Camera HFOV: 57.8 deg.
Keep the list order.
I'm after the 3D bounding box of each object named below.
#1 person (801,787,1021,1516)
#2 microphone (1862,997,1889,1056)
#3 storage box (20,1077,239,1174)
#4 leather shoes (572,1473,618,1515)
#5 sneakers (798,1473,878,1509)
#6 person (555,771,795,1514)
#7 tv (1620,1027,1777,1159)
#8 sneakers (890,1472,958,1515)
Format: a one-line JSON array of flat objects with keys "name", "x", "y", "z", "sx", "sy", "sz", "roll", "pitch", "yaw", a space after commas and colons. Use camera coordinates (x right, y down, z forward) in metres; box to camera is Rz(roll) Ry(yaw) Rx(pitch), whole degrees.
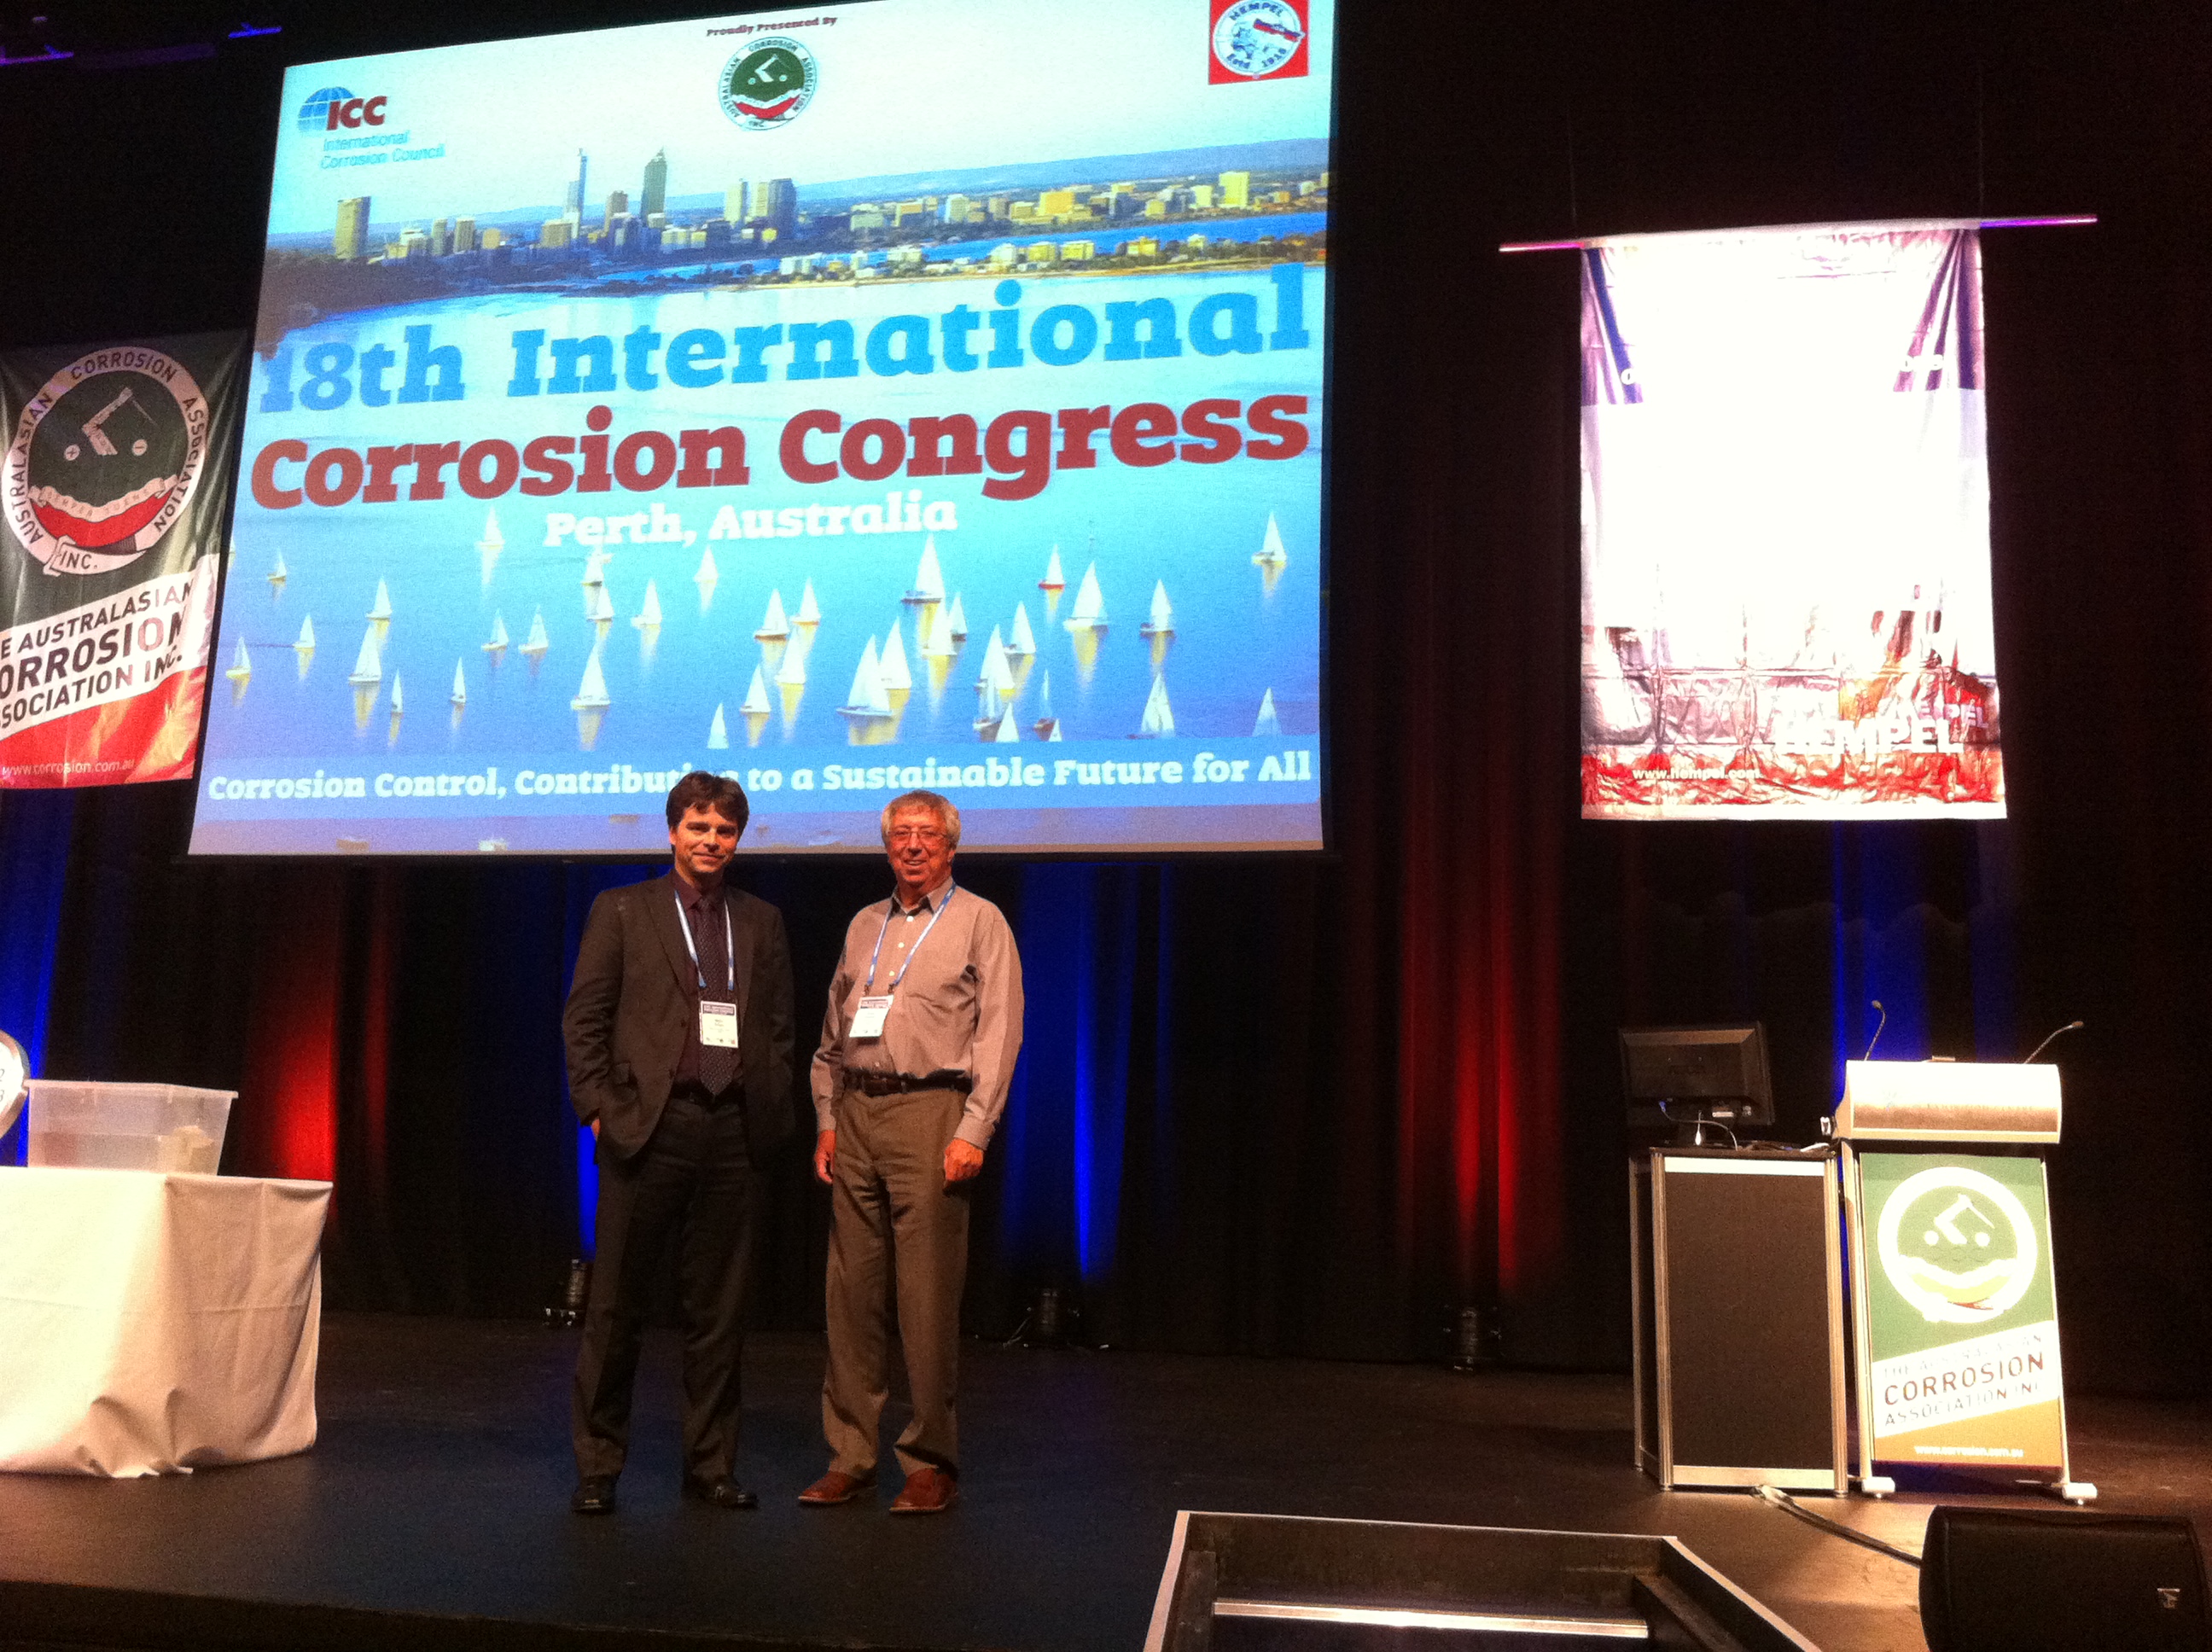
[{"name": "person", "x": -0.493, "y": 0.772, "z": 4.903, "sx": 0.536, "sy": 1.711, "sz": 0.287, "roll": 1, "pitch": -6, "yaw": 7}, {"name": "microphone", "x": 2.636, "y": 0.693, "z": 6.843, "sx": 0.042, "sy": 0.154, "sz": 0.142, "roll": 8, "pitch": -7, "yaw": -8}, {"name": "storage box", "x": -2.498, "y": 0.770, "z": 5.133, "sx": 0.396, "sy": 0.212, "sz": 0.282, "roll": 3, "pitch": -15, "yaw": 1}, {"name": "leather shoes", "x": -1.200, "y": 1.561, "z": 4.718, "sx": 0.104, "sy": 0.086, "sz": 0.195, "roll": 3, "pitch": -6, "yaw": -14}, {"name": "sneakers", "x": -0.645, "y": 1.581, "z": 4.769, "sx": 0.063, "sy": 0.057, "sz": 0.181, "roll": -9, "pitch": -22, "yaw": 24}, {"name": "person", "x": -1.041, "y": 0.742, "z": 4.855, "sx": 0.544, "sy": 1.748, "sz": 0.240, "roll": 3, "pitch": -6, "yaw": -17}, {"name": "tv", "x": 1.572, "y": 0.697, "z": 5.402, "sx": 0.371, "sy": 0.353, "sz": 0.185, "roll": -3, "pitch": 14, "yaw": 21}, {"name": "sneakers", "x": -0.435, "y": 1.566, "z": 4.725, "sx": 0.142, "sy": 0.099, "sz": 0.131, "roll": 1, "pitch": -6, "yaw": 1}]
